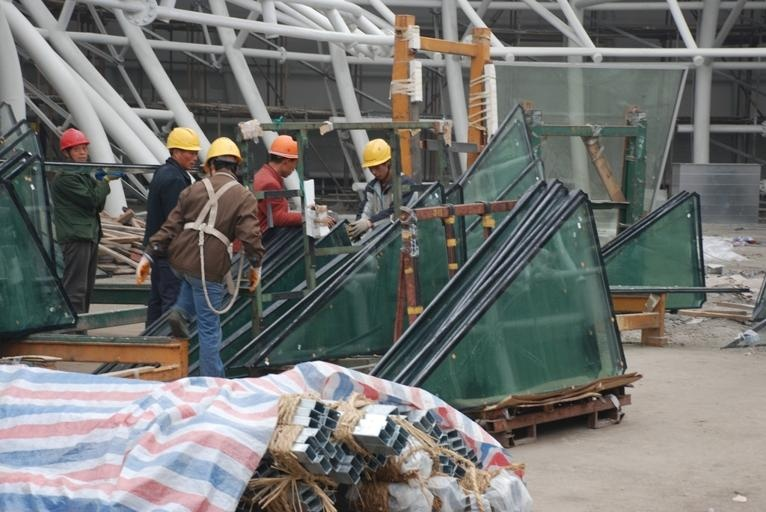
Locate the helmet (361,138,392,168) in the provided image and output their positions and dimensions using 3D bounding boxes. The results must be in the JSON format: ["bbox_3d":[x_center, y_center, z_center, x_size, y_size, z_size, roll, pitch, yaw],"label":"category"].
[{"bbox_3d":[-0.098,-1.722,22.405,0.399,0.257,0.510,-4,20,38],"label":"helmet"}]

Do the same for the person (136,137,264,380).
[{"bbox_3d":[-2.592,0.062,20.435,1.604,3.511,0.958,-8,13,-11],"label":"person"}]

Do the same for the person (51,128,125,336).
[{"bbox_3d":[-4.800,-0.386,22.267,0.909,3.402,1.085,-8,13,-11],"label":"person"}]

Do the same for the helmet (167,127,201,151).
[{"bbox_3d":[-3.120,-1.900,21.487,0.445,0.227,0.359,3,12,10],"label":"helmet"}]

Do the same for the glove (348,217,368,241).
[{"bbox_3d":[-0.397,-0.472,22.485,0.375,0.342,0.270,-5,12,1],"label":"glove"}]

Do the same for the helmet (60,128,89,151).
[{"bbox_3d":[-5.056,-1.978,22.461,0.472,0.278,0.391,-2,3,36],"label":"helmet"}]

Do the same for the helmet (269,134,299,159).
[{"bbox_3d":[-1.558,-1.825,22.364,0.391,0.267,0.488,15,14,14],"label":"helmet"}]

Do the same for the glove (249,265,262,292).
[{"bbox_3d":[-1.944,0.327,20.809,0.143,0.442,0.124,-15,53,-10],"label":"glove"}]
